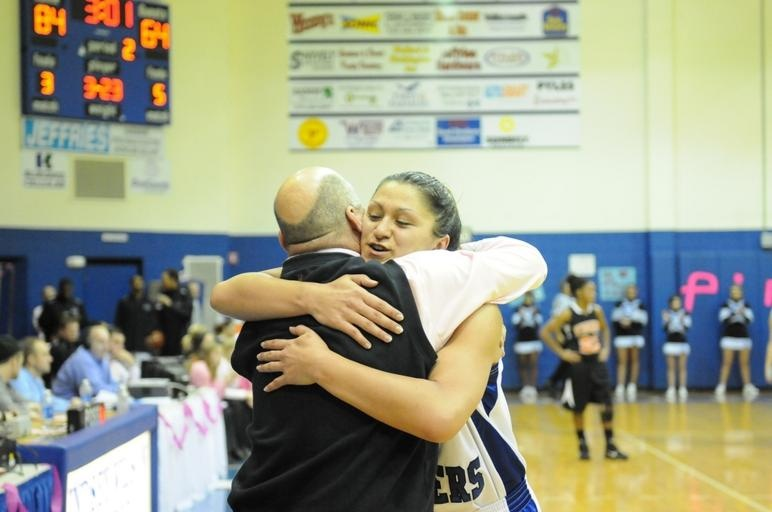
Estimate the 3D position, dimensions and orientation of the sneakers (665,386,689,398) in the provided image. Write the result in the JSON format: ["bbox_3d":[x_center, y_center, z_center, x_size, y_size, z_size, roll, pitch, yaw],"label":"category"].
[{"bbox_3d":[2.084,0.972,5.645,0.079,0.062,0.152,-1,-5,10],"label":"sneakers"}]

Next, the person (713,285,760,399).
[{"bbox_3d":[2.509,0.630,5.667,0.375,0.822,0.207,-11,9,-28],"label":"person"}]

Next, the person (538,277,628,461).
[{"bbox_3d":[2.122,1.192,8.380,0.901,1.902,0.604,-1,-3,12],"label":"person"}]

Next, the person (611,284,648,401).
[{"bbox_3d":[1.922,0.657,6.212,0.284,0.945,0.705,-4,8,16],"label":"person"}]
